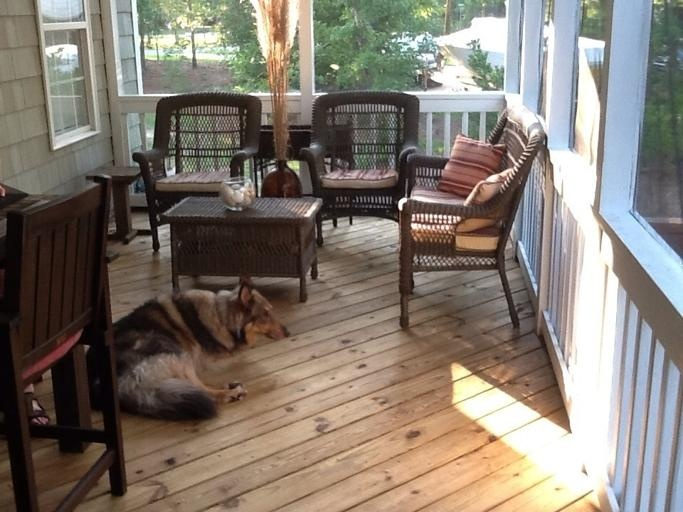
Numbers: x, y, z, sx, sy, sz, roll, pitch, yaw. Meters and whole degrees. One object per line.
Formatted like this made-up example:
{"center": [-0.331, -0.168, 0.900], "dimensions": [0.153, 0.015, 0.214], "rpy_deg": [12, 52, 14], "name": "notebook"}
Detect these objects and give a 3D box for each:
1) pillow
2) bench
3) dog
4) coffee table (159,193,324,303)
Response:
{"center": [0.875, -0.529, 4.070], "dimensions": [0.198, 0.617, 0.655], "rpy_deg": [16, 0, -32], "name": "pillow"}
{"center": [0.801, -0.218, 3.941], "dimensions": [0.974, 1.179, 1.116], "rpy_deg": [-2, 9, -5], "name": "bench"}
{"center": [-0.910, 0.526, 3.068], "dimensions": [0.820, 0.589, 1.234], "rpy_deg": [-9, -8, 41], "name": "dog"}
{"center": [-0.701, -0.101, 3.989], "dimensions": [1.114, 0.606, 0.713], "rpy_deg": [1, 19, 4], "name": "coffee table"}
